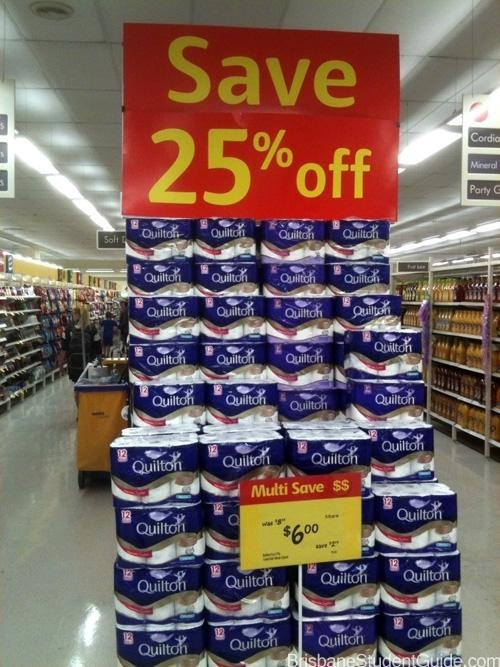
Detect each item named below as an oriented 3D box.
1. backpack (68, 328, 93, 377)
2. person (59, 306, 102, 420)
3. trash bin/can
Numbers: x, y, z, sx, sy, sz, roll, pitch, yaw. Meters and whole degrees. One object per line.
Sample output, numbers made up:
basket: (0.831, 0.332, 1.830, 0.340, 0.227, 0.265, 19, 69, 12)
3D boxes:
backpack: (-2.576, 0.261, 8.469, 0.321, 0.585, 0.358, 28, 36, 36)
person: (-2.532, 0.361, 8.703, 0.568, 1.600, 0.485, -12, 19, -32)
trash bin/can: (-1.251, 0.777, 4.868, 0.401, 0.739, 1.222, 0, 3, -4)
